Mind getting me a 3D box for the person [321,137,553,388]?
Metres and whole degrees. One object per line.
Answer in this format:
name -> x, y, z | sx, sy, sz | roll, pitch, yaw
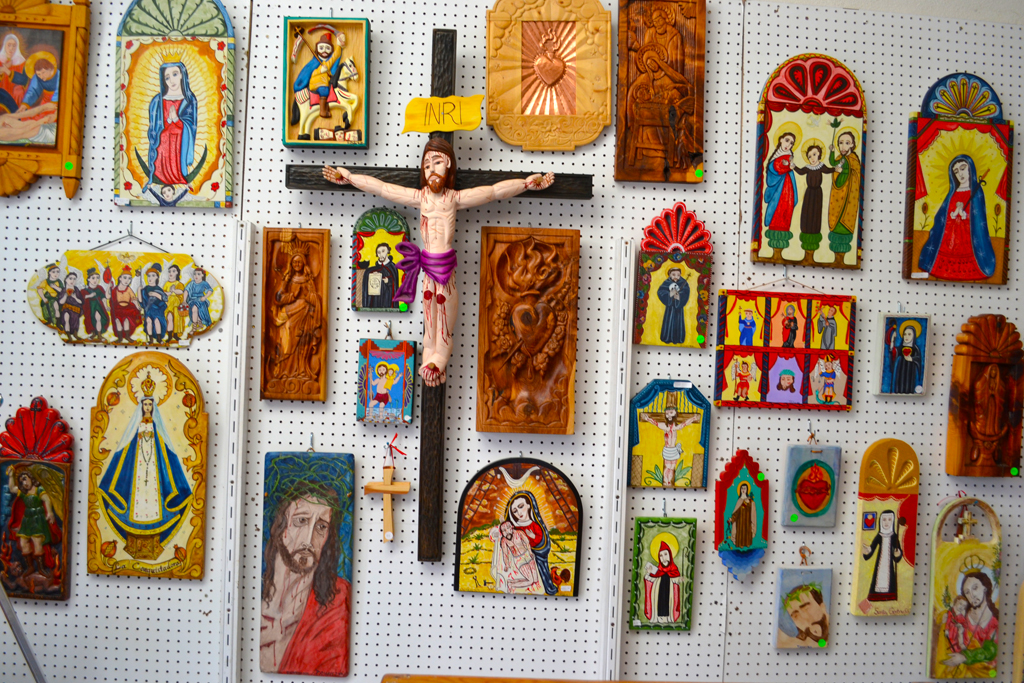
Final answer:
person -> -0.286, -0.278, 4.634 | 0.615, 0.812, 0.178 | 0, 2, 1
